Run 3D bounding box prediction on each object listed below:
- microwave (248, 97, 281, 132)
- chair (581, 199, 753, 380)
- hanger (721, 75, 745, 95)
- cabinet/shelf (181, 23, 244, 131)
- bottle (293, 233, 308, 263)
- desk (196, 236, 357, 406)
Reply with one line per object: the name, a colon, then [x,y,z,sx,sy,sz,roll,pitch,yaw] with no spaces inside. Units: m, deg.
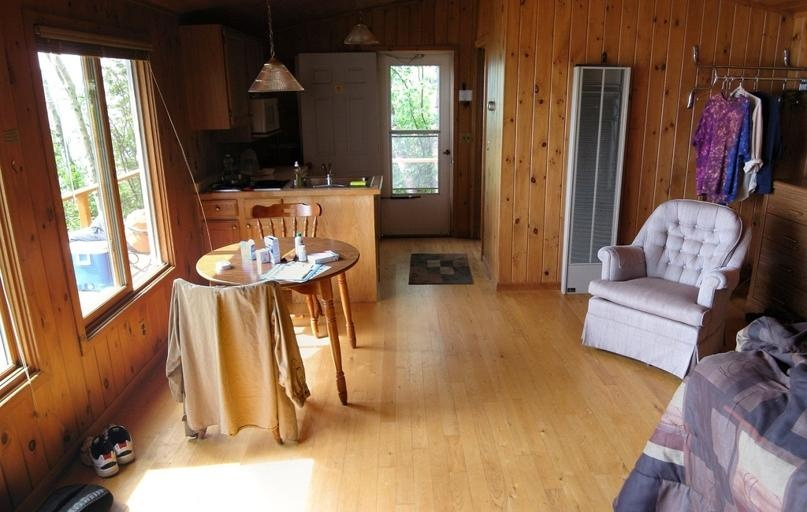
microwave: [-1.607,-1.618,6.404,0.322,0.369,0.552,0,20,-3]
chair: [2.301,0.190,4.918,1.084,1.275,1.200,12,19,37]
hanger: [3.275,-1.693,5.559,0.183,0.184,0.384,7,18,29]
cabinet/shelf: [-1.902,-1.751,5.490,0.368,0.943,0.949,1,19,0]
bottle: [-0.835,-0.060,4.524,0.091,0.257,0.067,-11,60,-5]
desk: [-0.963,0.746,4.814,1.399,1.166,1.564,-7,-4,-11]
